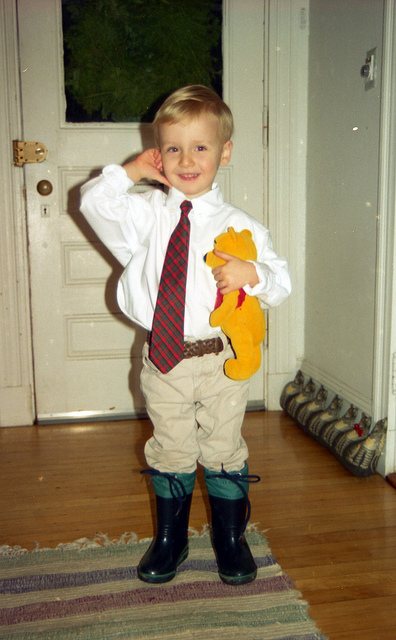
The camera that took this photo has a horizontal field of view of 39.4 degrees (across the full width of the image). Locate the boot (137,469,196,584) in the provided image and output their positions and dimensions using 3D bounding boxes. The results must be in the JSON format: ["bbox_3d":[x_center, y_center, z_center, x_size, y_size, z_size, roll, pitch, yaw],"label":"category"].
[{"bbox_3d":[-0.069,0.441,1.196,0.123,0.226,0.104,-2,13,0],"label":"boot"}]

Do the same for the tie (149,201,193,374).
[{"bbox_3d":[-0.042,-0.064,1.125,0.104,0.342,0.060,-11,16,-34],"label":"tie"}]

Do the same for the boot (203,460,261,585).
[{"bbox_3d":[0.077,0.424,1.224,0.113,0.248,0.179,-3,13,-6],"label":"boot"}]

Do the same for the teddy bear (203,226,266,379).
[{"bbox_3d":[0.075,-0.033,1.134,0.156,0.309,0.125,-7,14,-20],"label":"teddy bear"}]

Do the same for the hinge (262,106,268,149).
[{"bbox_3d":[0.257,-0.742,2.141,0.025,0.158,0.016,4,14,22],"label":"hinge"}]
